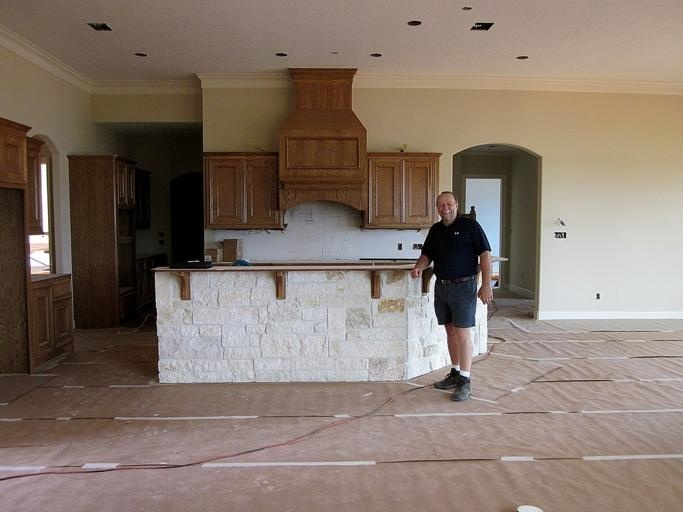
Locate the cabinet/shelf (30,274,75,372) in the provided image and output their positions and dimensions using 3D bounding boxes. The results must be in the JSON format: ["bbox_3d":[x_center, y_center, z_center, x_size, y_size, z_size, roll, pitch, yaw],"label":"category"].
[{"bbox_3d":[-3.429,0.800,6.630,0.507,1.004,1.063,-1,-2,-8],"label":"cabinet/shelf"}]

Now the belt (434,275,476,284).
[{"bbox_3d":[1.121,0.238,5.594,0.390,0.091,0.131,1,4,18],"label":"belt"}]

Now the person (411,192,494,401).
[{"bbox_3d":[1.081,0.486,5.584,0.755,1.799,0.411,1,4,9],"label":"person"}]

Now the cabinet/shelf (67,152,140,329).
[{"bbox_3d":[-3.465,-0.224,8.518,0.647,2.481,1.119,1,4,16],"label":"cabinet/shelf"}]

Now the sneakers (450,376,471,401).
[{"bbox_3d":[1.175,1.285,5.535,0.165,0.221,0.272,2,4,23],"label":"sneakers"}]

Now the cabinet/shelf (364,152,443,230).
[{"bbox_3d":[0.822,-0.916,7.934,1.249,1.182,0.478,1,0,0],"label":"cabinet/shelf"}]

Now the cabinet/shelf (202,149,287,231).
[{"bbox_3d":[-1.370,-0.937,7.967,1.145,1.047,0.438,0,1,-2],"label":"cabinet/shelf"}]

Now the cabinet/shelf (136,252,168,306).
[{"bbox_3d":[-2.853,0.360,8.365,0.302,0.844,0.935,0,1,-3],"label":"cabinet/shelf"}]

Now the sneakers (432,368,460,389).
[{"bbox_3d":[1.083,1.266,5.768,0.337,0.151,0.124,-1,-2,-7],"label":"sneakers"}]
